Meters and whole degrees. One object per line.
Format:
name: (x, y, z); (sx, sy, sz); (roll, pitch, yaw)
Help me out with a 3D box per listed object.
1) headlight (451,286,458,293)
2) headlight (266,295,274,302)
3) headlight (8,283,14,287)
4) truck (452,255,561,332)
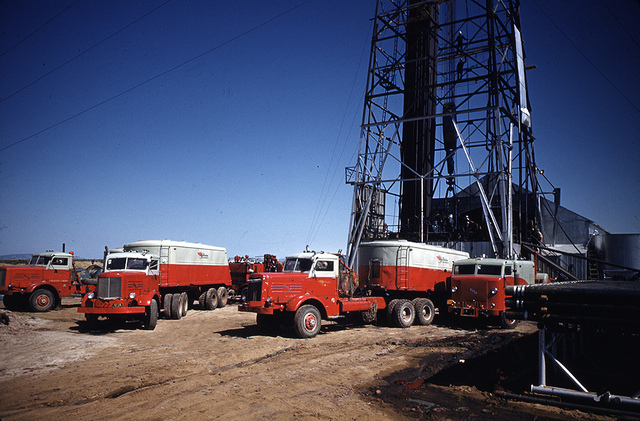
headlight: (6.754, 3.995, 20.072); (0.274, 0.288, 0.068); (-4, -13, 36)
headlight: (-2.168, 3.808, 17.183); (0.190, 0.275, 0.282); (-2, -16, -5)
headlight: (-17.242, 4.200, 22.275); (0.193, 0.280, 0.149); (-2, -15, -13)
truck: (10.005, 3.924, 20.652); (7.181, 4.380, 3.987); (7, -12, -37)
